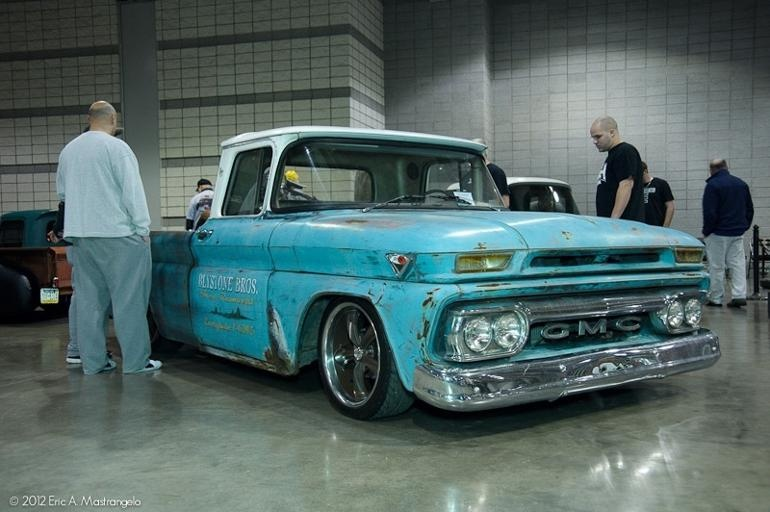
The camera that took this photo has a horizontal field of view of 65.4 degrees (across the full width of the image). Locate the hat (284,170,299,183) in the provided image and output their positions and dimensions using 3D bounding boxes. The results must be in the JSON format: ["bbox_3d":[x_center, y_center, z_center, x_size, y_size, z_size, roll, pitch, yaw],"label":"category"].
[{"bbox_3d":[-0.811,-0.685,5.178,0.087,0.135,0.040,-52,-10,-33],"label":"hat"}]

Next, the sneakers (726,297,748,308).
[{"bbox_3d":[5.642,0.743,9.661,0.275,0.159,0.336,3,8,27],"label":"sneakers"}]

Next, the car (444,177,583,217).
[{"bbox_3d":[2.354,-1.064,10.682,2.477,0.809,1.061,-2,6,-5],"label":"car"}]
